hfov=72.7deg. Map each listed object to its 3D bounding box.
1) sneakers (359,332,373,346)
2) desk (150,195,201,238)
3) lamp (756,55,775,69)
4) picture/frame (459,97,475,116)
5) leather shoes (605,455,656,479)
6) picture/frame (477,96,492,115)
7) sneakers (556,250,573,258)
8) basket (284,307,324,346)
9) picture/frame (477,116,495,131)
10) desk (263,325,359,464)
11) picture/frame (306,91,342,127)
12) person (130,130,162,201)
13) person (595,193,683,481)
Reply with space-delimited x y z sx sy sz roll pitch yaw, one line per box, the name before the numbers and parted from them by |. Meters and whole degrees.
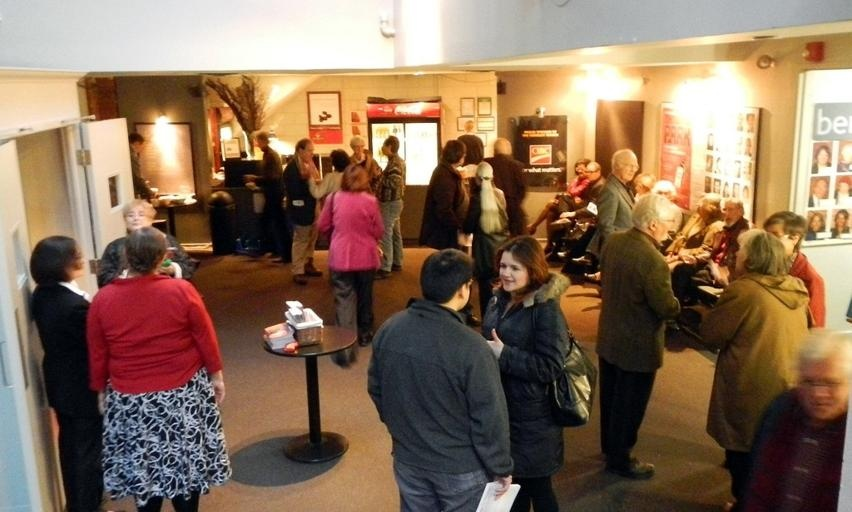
sneakers | -0.748 1.033 7.351 0.138 0.146 0.222 4 18 2
desk | -4.545 -0.712 10.911 0.792 0.817 0.785 0 14 -7
lamp | 3.969 -2.287 6.846 0.153 0.163 0.248 -5 12 -4
picture/frame | 0.863 -3.095 11.925 0.414 0.459 0.048 1 3 4
leather shoes | 1.790 1.878 5.119 0.397 0.177 0.177 -2 4 6
picture/frame | 1.205 -3.072 11.821 0.402 0.444 0.045 1 2 1
sneakers | 2.286 -0.032 9.591 0.146 0.095 0.089 17 9 24
basket | -1.130 0.654 5.460 0.301 0.290 0.355 -9 13 -18
picture/frame | 1.236 -2.687 11.786 0.320 0.228 0.031 1 2 2
desk | -1.060 1.246 5.795 1.126 1.243 1.124 -1 10 -9
picture/frame | -2.243 -3.346 13.046 0.832 0.774 0.118 2 9 5
person | -5.177 -1.644 10.603 0.334 1.263 1.547 -10 13 -24
person | 1.812 0.708 5.034 0.644 2.474 0.470 -1 13 16
